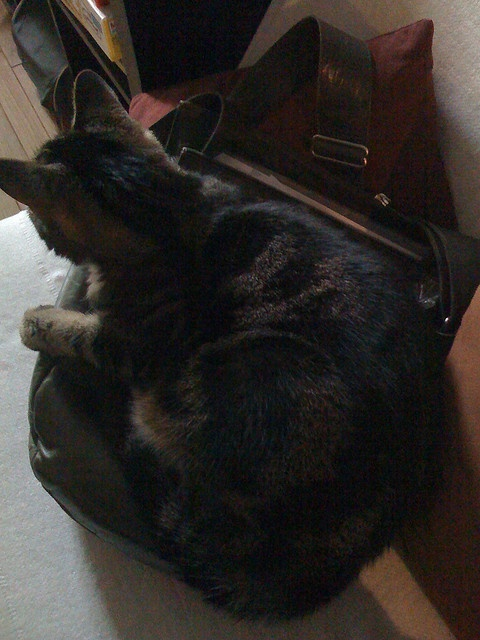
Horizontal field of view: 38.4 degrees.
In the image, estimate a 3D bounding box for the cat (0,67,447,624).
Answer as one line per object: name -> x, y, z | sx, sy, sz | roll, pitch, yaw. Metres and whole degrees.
cat -> -0.029, 0.010, 0.570 | 0.419, 0.190, 0.282 | 38, 73, 24
